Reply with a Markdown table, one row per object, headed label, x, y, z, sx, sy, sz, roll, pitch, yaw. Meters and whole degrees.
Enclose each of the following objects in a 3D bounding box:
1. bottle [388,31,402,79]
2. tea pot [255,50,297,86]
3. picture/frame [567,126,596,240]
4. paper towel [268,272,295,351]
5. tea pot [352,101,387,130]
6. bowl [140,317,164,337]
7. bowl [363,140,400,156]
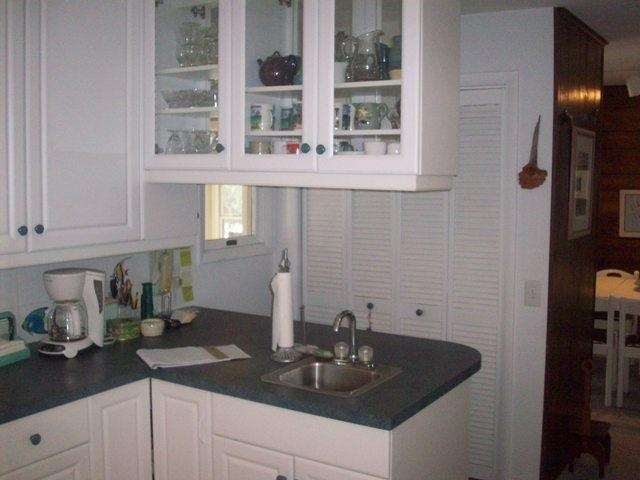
| label | x | y | z | sx | sy | sz | roll | pitch | yaw |
| --- | --- | --- | --- | --- | --- | --- | --- | --- | --- |
| bottle | 0.331 | -0.801 | 2.333 | 0.065 | 0.190 | 0.010 | 9 | 12 | 41 |
| tea pot | -0.189 | -0.816 | 2.567 | 0.238 | 0.167 | 0.154 | 13 | 24 | 38 |
| picture/frame | 1.862 | -0.417 | 3.830 | 0.042 | 1.016 | 0.861 | 1 | 0 | 42 |
| paper towel | -0.187 | 0.357 | 2.665 | 0.107 | 0.409 | 0.170 | 0 | 9 | -5 |
| tea pot | 0.225 | -0.569 | 2.403 | 0.146 | 0.108 | 0.094 | 2 | 7 | 20 |
| bowl | -0.938 | 0.482 | 3.004 | 0.128 | 0.079 | 0.168 | -1 | 10 | -15 |
| bowl | 0.269 | -0.400 | 2.378 | 0.116 | 0.045 | 0.068 | 0 | 1 | -43 |
